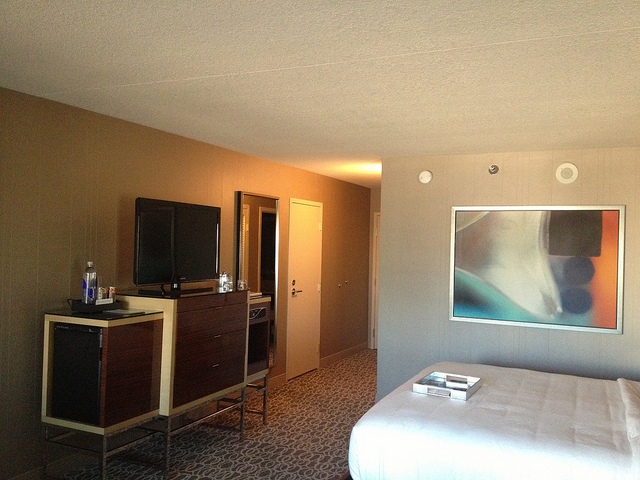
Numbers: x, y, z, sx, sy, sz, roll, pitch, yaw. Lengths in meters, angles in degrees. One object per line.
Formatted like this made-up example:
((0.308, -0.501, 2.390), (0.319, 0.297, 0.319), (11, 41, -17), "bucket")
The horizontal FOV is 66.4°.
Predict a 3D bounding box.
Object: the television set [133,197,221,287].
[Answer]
((-1.440, 0.027, 4.894), (0.128, 0.815, 1.177), (1, 0, 27), "television set")

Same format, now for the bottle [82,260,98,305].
((-1.980, 0.367, 4.205), (0.114, 0.342, 0.219), (-2, 7, -25), "bottle")

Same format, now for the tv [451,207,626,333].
((2.505, 0.330, 5.439), (1.531, 1.103, 0.051), (2, 2, 28), "tv")

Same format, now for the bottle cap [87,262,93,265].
((-2.042, 0.205, 4.335), (0.034, 0.023, 0.033), (1, 0, -3), "bottle cap")
